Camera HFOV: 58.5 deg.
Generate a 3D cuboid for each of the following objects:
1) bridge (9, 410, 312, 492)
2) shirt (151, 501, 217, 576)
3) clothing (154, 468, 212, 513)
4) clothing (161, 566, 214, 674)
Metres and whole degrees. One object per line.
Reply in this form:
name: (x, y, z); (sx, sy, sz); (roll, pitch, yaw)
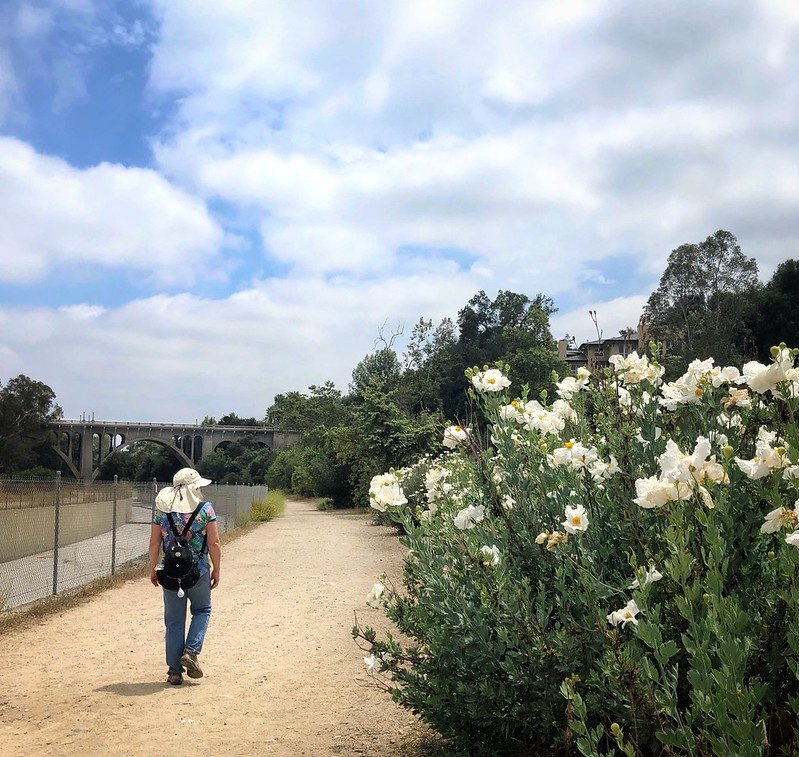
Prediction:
bridge: (-31.801, 9.729, 94.835); (30.279, 7.421, 30.563); (5, -7, -27)
shirt: (-1.913, 1.371, 6.600); (0.254, 0.494, 0.461); (27, -14, -34)
clothing: (-1.999, 1.026, 6.581); (0.335, 0.480, 0.188); (2, -42, -6)
clothing: (-1.914, 2.164, 6.369); (0.386, 0.907, 0.436); (3, -5, -14)
